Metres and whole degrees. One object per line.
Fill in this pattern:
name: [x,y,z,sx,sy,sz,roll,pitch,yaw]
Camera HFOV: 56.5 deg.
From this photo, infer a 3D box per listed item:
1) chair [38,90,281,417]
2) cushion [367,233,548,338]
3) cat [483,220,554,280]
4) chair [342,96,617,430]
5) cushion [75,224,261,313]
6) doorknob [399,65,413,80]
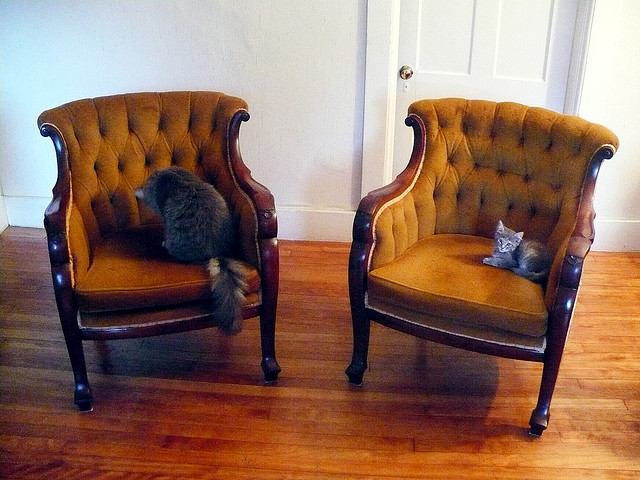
chair: [-0.844,0.021,3.025,1.148,1.354,1.067,-16,29,-35]
cushion: [0.670,0.199,2.850,0.811,0.260,0.483,7,20,18]
cat: [0.959,0.049,2.835,0.386,0.194,0.154,16,31,2]
chair: [0.792,0.081,2.972,1.087,1.352,1.019,8,29,19]
cushion: [-0.839,0.129,2.925,0.609,0.241,0.571,-3,19,-10]
doorknob: [0.559,-1.082,3.846,0.085,0.089,0.027,4,20,10]
